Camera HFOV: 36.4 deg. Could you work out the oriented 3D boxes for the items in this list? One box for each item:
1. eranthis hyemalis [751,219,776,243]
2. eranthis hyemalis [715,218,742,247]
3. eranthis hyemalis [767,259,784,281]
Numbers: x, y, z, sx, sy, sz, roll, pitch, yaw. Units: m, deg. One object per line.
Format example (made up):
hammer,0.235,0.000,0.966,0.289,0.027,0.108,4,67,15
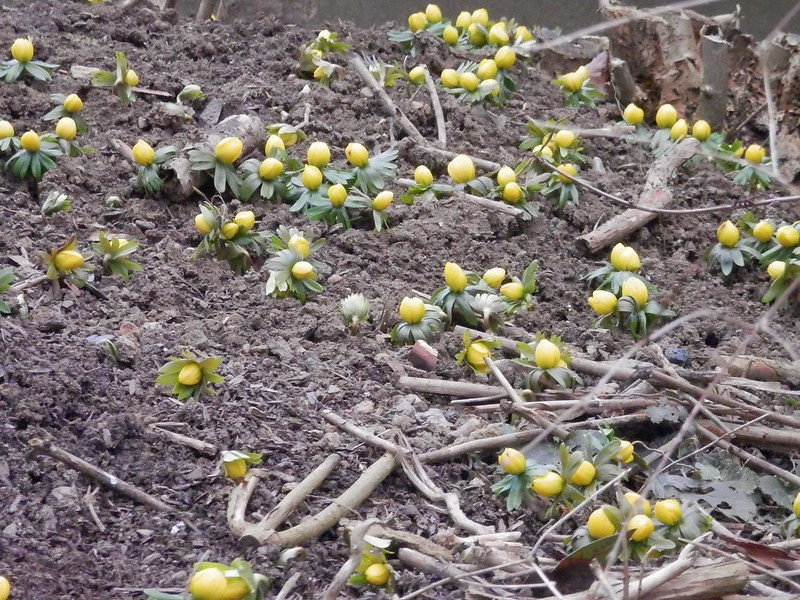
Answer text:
eranthis hyemalis,1.809,-0.344,6.021,0.124,0.112,0.105,-3,32,1
eranthis hyemalis,1.608,-0.328,6.030,0.118,0.158,0.120,-4,25,6
eranthis hyemalis,1.771,-0.140,5.814,0.098,0.074,0.071,0,14,-11
